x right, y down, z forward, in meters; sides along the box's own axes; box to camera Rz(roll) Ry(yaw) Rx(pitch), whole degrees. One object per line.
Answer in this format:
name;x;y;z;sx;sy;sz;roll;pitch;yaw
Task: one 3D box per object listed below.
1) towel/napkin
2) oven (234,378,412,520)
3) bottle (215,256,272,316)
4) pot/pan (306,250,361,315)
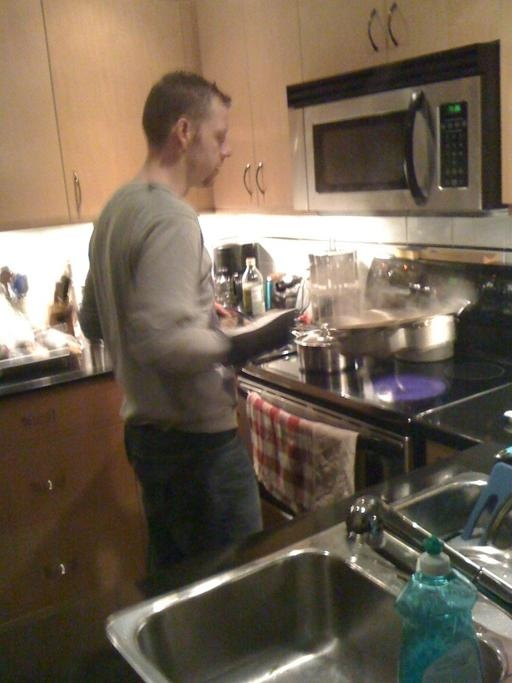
towel/napkin;0.095;0.215;0.971;0.031;0.168;0.209;-12;22;-26
oven;0.112;0.182;1.125;0.328;0.271;0.254;13;27;21
bottle;-0.036;-0.153;1.411;0.145;0.268;0.082;-11;26;-19
pot/pan;0.202;-0.129;1.299;0.121;0.230;0.149;-2;1;32
